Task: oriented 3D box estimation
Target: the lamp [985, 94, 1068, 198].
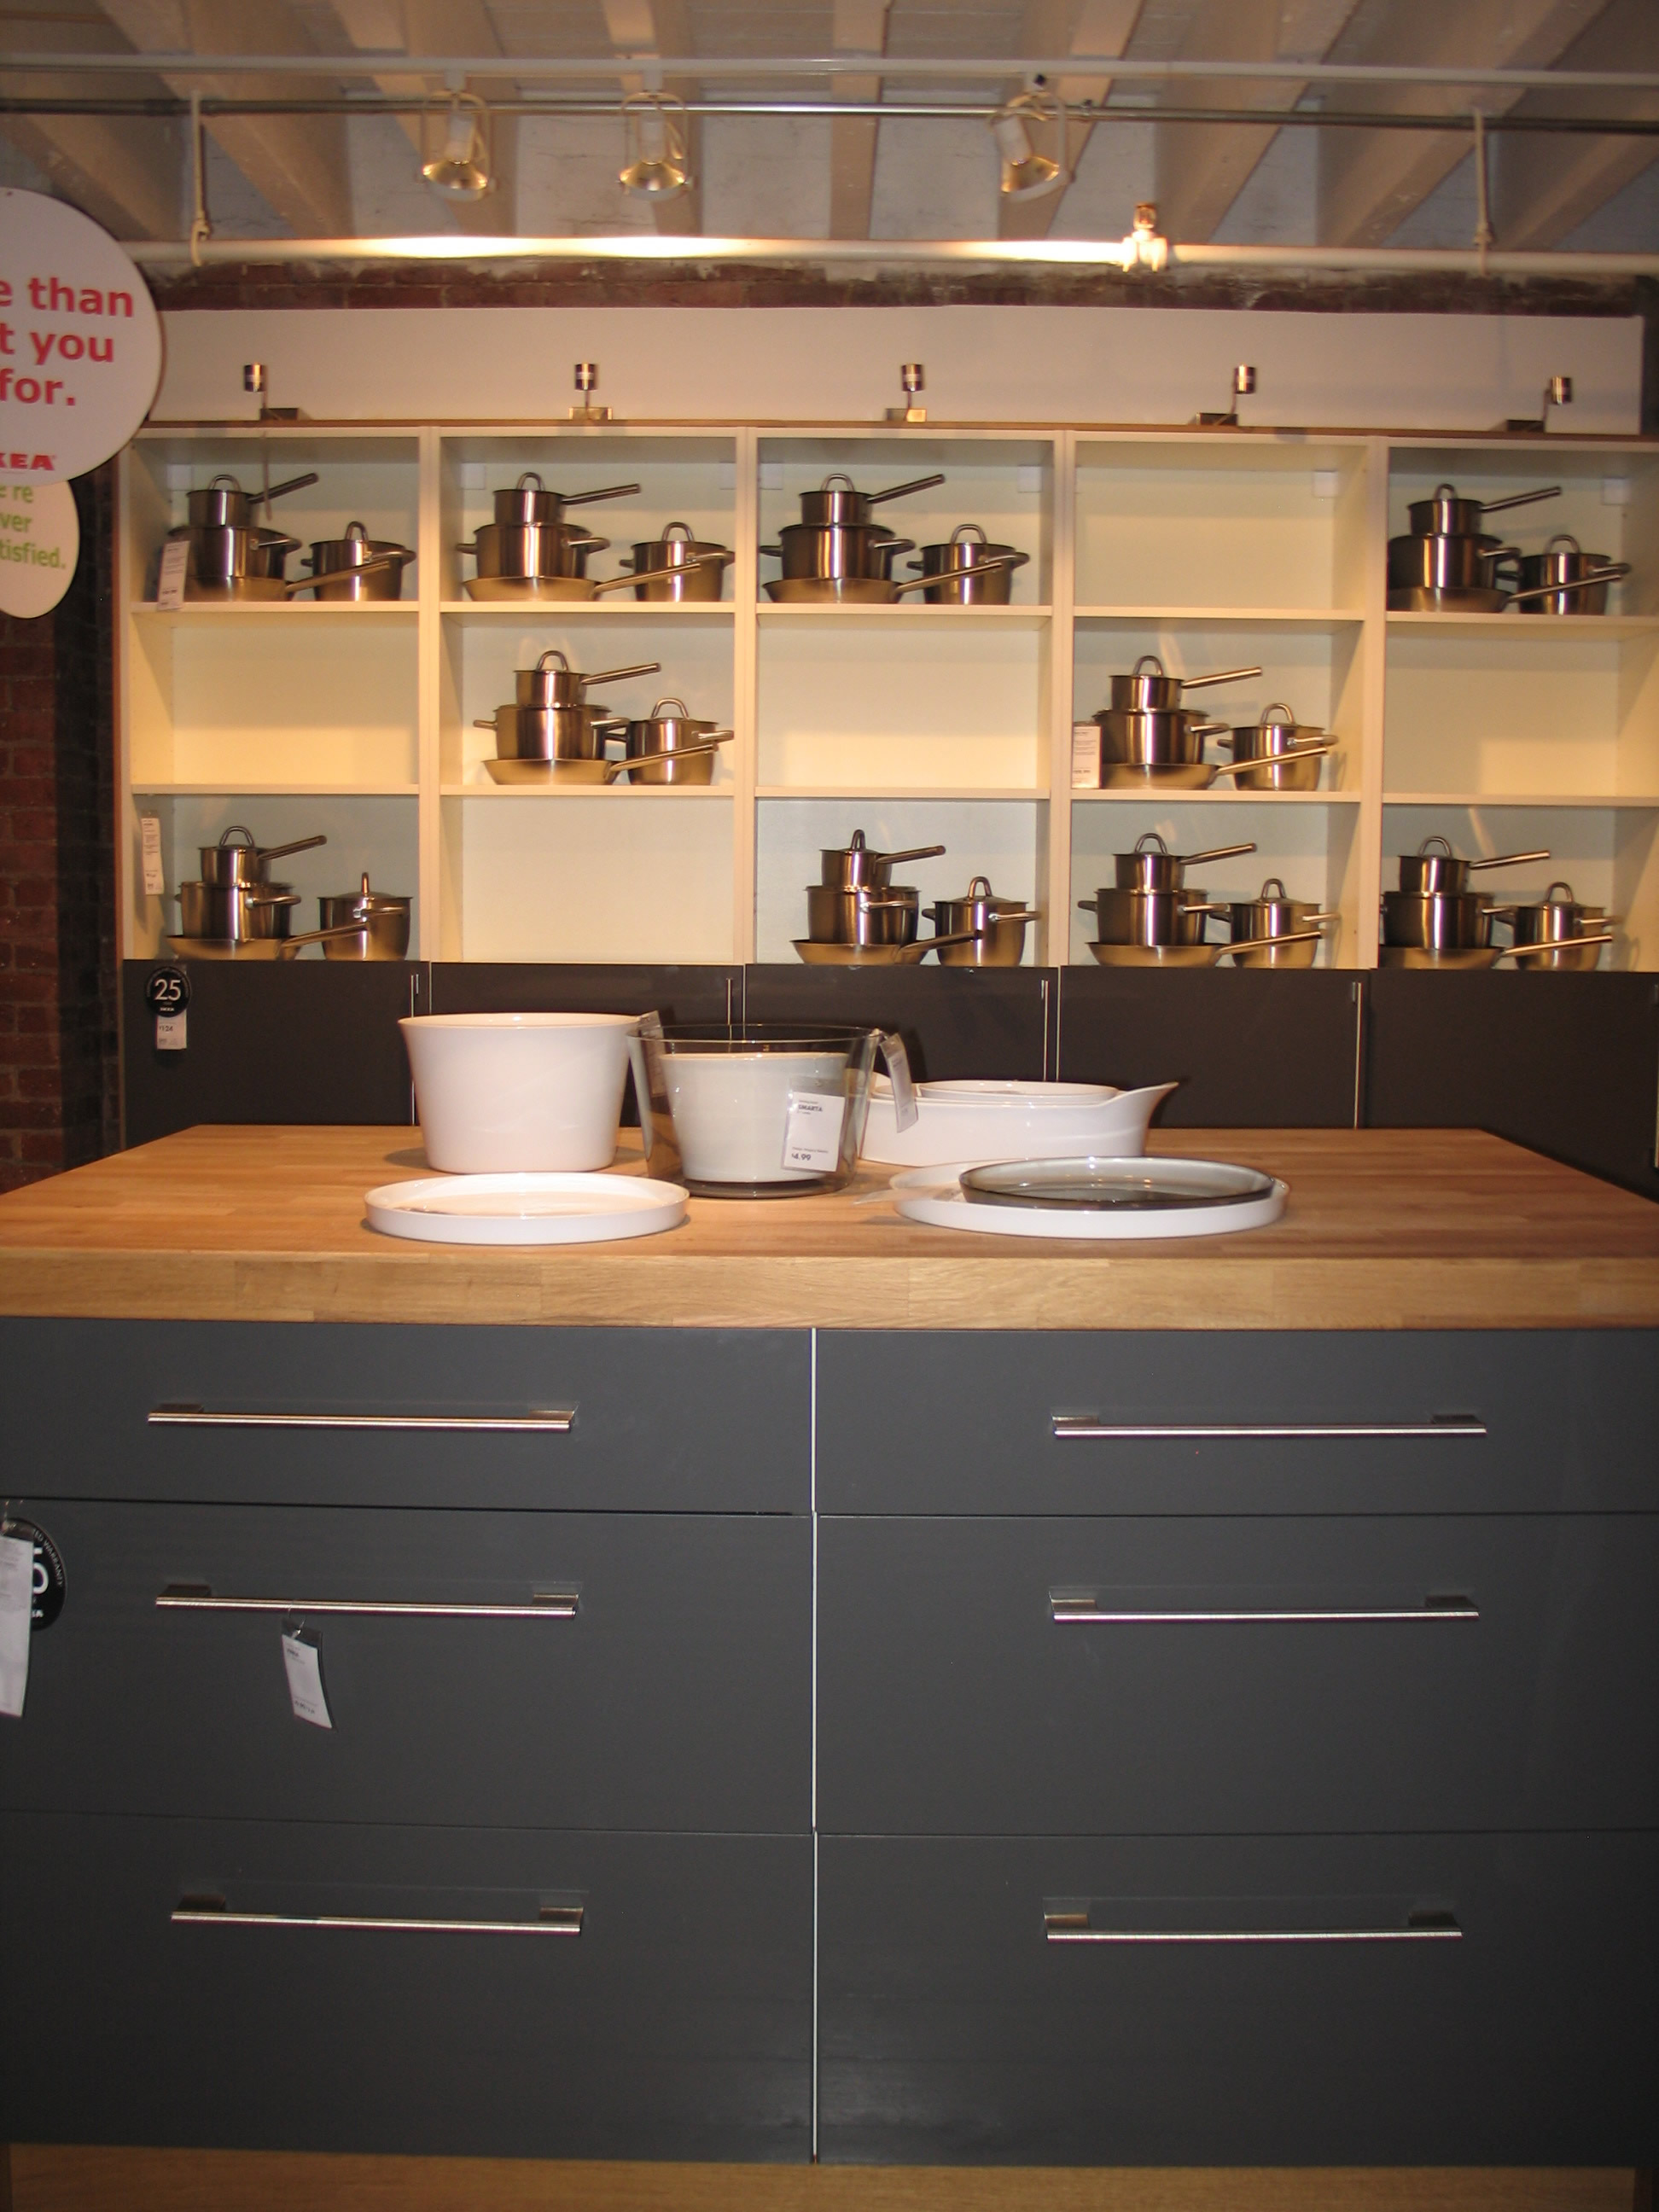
[{"bbox_3d":[0.291,-1.409,3.236,0.086,0.120,0.121,2,9,3],"label":"lamp"}]
